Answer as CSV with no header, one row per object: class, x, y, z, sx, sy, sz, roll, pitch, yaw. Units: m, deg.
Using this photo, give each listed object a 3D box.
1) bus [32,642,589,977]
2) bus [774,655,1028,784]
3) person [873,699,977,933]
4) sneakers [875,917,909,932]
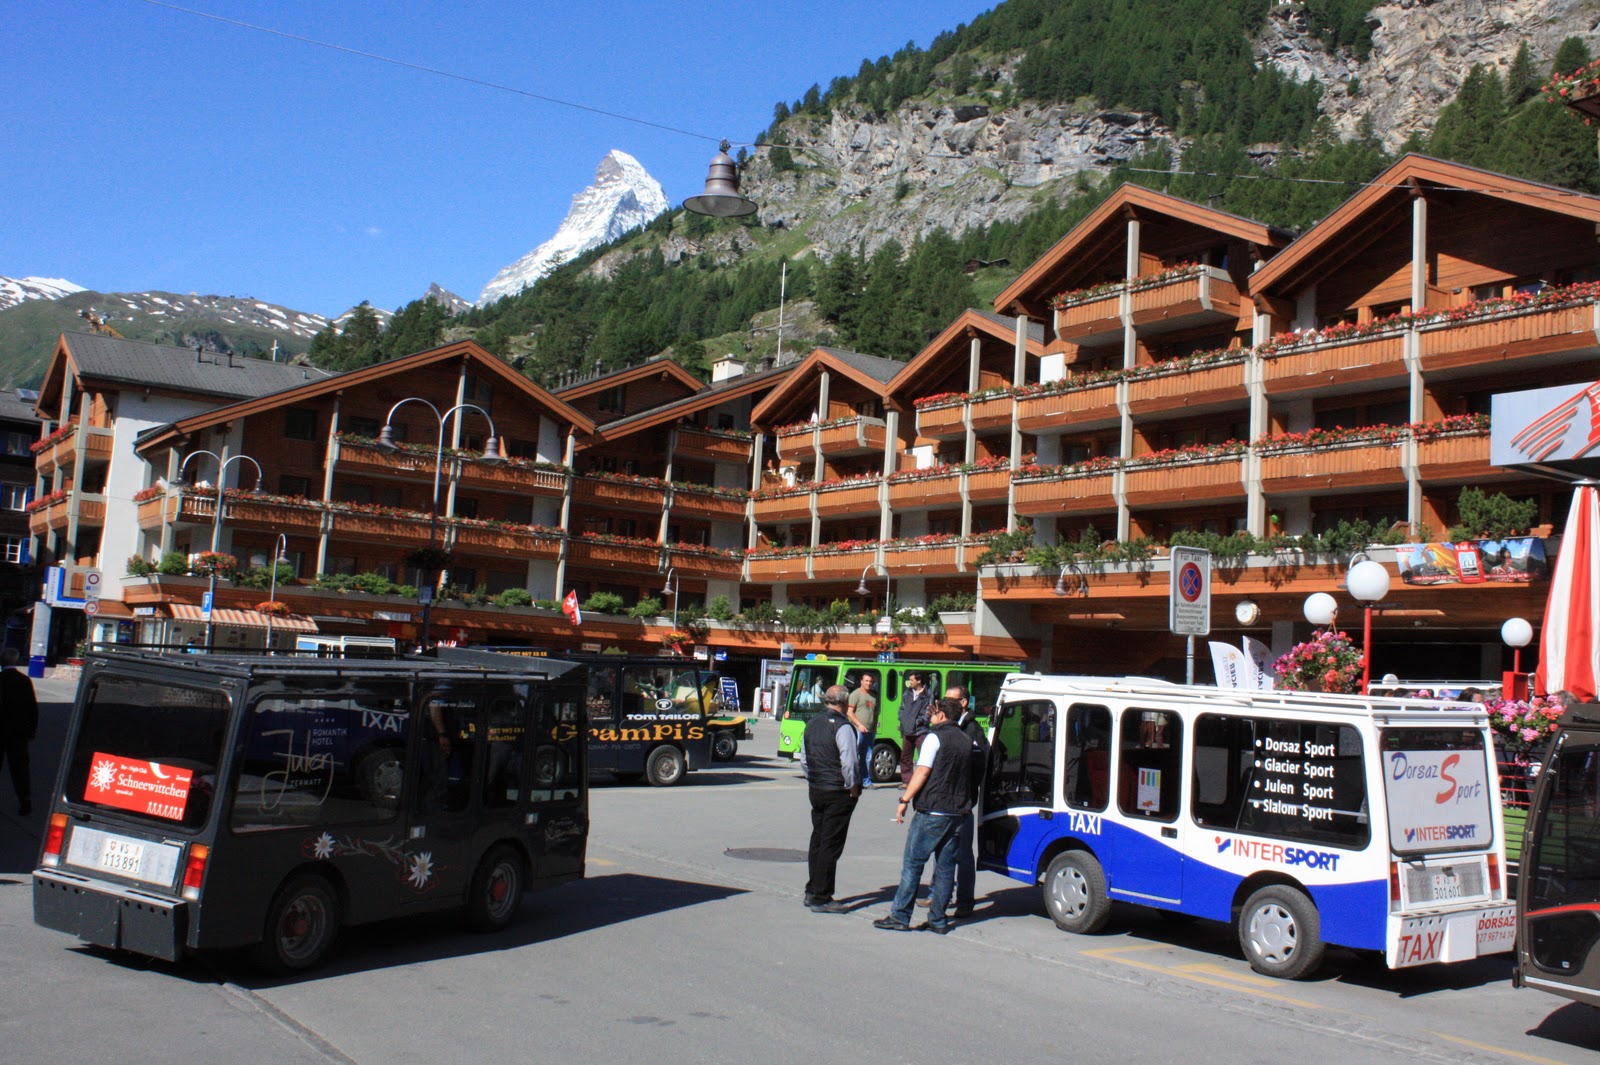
bus,-5.238,2.816,14.816,5.127,2.777,3.096,0,-1,-40
bus,2.860,5.363,34.901,6.493,3.296,4.007,0,-2,-4
person,1.642,3.676,16.341,0.926,2.018,1.103,3,2,16
sneakers,1.135,4.819,16.124,0.387,0.169,0.171,5,-3,27
